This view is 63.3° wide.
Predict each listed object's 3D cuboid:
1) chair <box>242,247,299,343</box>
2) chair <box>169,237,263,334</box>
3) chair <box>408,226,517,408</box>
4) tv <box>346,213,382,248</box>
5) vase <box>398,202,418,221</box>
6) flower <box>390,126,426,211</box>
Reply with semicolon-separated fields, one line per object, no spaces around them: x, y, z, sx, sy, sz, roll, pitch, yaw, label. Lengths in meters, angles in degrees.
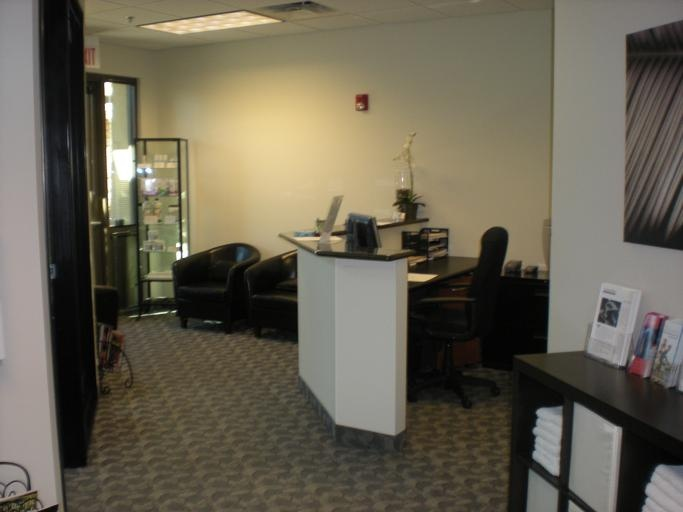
-0.645;0.437;6.595;0.948;1.025;1.024;3;2;-9;chair
-1.579;0.385;6.973;1.065;1.041;1.093;1;3;-19;chair
0.996;0.470;4.792;0.802;1.467;0.756;1;10;7;chair
0.167;-0.190;4.345;0.164;0.254;0.341;-5;11;-28;tv
0.767;-0.497;6.304;0.187;0.169;0.209;1;-3;-22;vase
0.699;-0.928;6.315;0.433;0.945;0.471;6;12;32;flower
